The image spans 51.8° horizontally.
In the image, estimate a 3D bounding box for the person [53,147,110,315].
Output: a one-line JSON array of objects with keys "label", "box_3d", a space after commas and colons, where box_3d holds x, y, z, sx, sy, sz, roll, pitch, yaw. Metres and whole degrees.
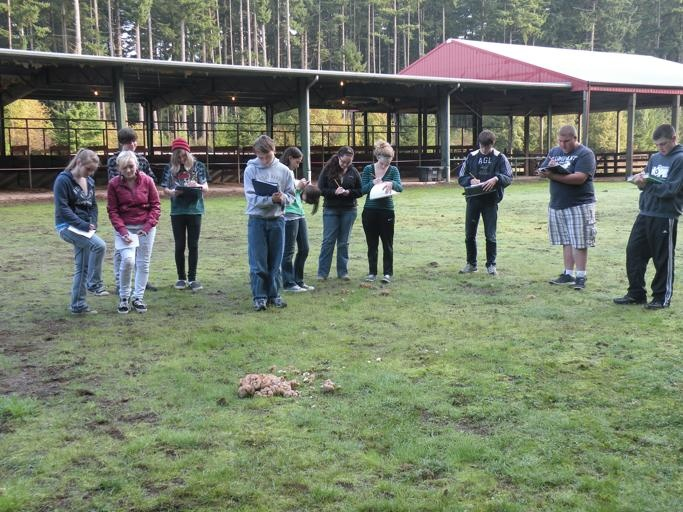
[{"label": "person", "box_3d": [-2.912, -0.304, 7.903, 0.523, 1.804, 0.823, -7, 15, -21]}]

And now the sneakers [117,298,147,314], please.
[{"label": "sneakers", "box_3d": [-2.362, 0.556, 7.864, 0.177, 0.118, 0.291, 4, -6, -45]}]

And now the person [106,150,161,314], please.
[{"label": "person", "box_3d": [-2.310, -0.298, 7.932, 0.563, 1.759, 0.704, -6, 15, -17]}]

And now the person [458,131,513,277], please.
[{"label": "person", "box_3d": [1.864, -0.712, 9.383, 0.624, 1.906, 0.679, -10, 16, -29]}]

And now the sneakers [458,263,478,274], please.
[{"label": "sneakers", "box_3d": [1.729, 0.188, 9.583, 0.299, 0.128, 0.106, 0, 1, -24]}]

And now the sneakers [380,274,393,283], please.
[{"label": "sneakers", "box_3d": [0.583, 0.292, 9.109, 0.089, 0.094, 0.212, -1, -5, 17]}]

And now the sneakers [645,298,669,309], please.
[{"label": "sneakers", "box_3d": [3.417, 0.520, 7.660, 0.284, 0.130, 0.103, 3, -3, -3]}]

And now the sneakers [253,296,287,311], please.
[{"label": "sneakers", "box_3d": [-0.843, 0.547, 7.995, 0.398, 0.182, 0.150, -6, -3, 26]}]

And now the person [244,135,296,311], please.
[{"label": "person", "box_3d": [-0.791, -0.382, 7.993, 0.573, 1.932, 0.617, -3, 14, -7]}]

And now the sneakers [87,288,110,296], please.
[{"label": "sneakers", "box_3d": [-2.956, 0.441, 8.586, 0.253, 0.111, 0.093, 0, 1, 0]}]

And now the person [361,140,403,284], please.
[{"label": "person", "box_3d": [0.518, -0.579, 9.144, 0.507, 1.791, 0.755, -1, 14, 2]}]

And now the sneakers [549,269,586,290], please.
[{"label": "sneakers", "box_3d": [2.735, 0.307, 8.646, 0.503, 0.205, 0.175, 1, 3, 16]}]

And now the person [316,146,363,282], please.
[{"label": "person", "box_3d": [-0.037, -0.546, 9.159, 0.612, 1.760, 0.645, -2, 14, -2]}]

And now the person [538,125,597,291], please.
[{"label": "person", "box_3d": [2.743, -0.589, 8.567, 0.610, 1.955, 0.683, -10, 17, -31]}]

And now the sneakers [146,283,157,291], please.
[{"label": "sneakers", "box_3d": [-2.365, 0.396, 8.802, 0.067, 0.064, 0.214, 7, 22, -33]}]

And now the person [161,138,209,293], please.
[{"label": "person", "box_3d": [-1.887, -0.505, 8.638, 0.540, 1.843, 0.468, -5, 15, -12]}]

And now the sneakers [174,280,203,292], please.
[{"label": "sneakers", "box_3d": [-1.915, 0.377, 8.777, 0.272, 0.085, 0.157, -3, -3, 35]}]

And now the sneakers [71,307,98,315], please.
[{"label": "sneakers", "box_3d": [-2.825, 0.599, 7.772, 0.277, 0.117, 0.099, 0, 5, -17]}]

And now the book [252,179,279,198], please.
[{"label": "book", "box_3d": [-0.863, -0.745, 7.841, 0.195, 0.194, 0.048, 8, 44, 4]}]

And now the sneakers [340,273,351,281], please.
[{"label": "sneakers", "box_3d": [0.044, 0.284, 9.342, 0.062, 0.074, 0.165, 4, -8, -33]}]
